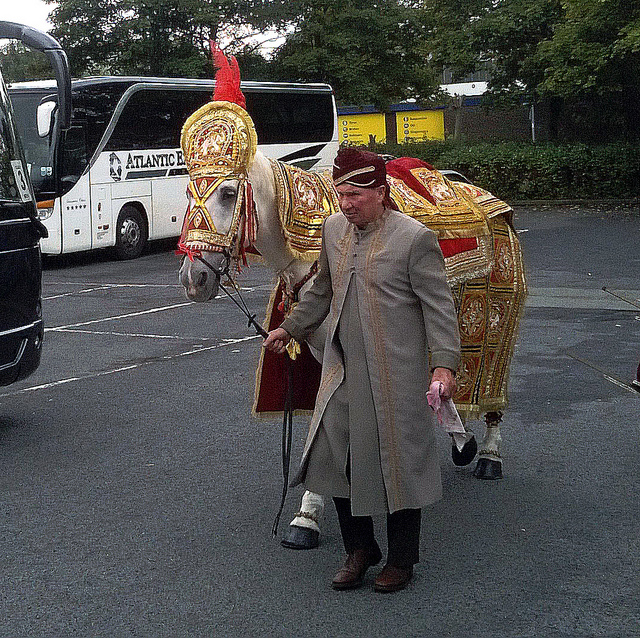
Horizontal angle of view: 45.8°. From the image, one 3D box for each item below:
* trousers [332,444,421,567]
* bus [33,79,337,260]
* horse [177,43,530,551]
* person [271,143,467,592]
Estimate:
[{"bbox_3d":[0.232,0.750,3.095,0.349,0.528,0.210,-1,9,2],"label":"trousers"},{"bbox_3d":[-3.790,-4.433,20.614,2.813,4.003,10.942,13,20,33],"label":"bus"},{"bbox_3d":[0.324,-0.210,4.452,2.595,2.282,0.759,-6,11,-36],"label":"horse"},{"bbox_3d":[0.181,0.230,3.224,0.700,1.843,0.993,-2,9,-4],"label":"person"}]
